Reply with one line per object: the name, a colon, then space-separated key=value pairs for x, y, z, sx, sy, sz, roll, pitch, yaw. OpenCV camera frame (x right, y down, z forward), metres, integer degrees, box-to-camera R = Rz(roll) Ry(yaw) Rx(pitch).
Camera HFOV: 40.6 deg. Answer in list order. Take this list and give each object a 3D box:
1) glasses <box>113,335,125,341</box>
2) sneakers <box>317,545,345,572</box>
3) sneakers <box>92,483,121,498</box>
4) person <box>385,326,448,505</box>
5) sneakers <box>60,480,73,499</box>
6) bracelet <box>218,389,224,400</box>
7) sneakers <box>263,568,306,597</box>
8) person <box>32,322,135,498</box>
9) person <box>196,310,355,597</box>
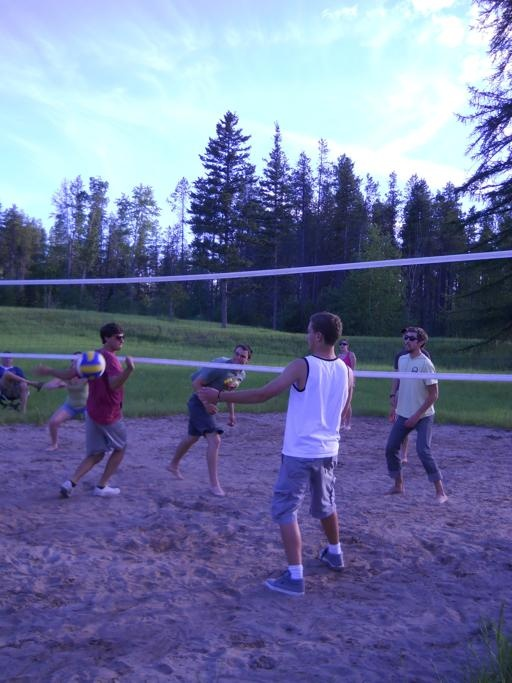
glasses: x=-1.228 y=-0.039 z=6.176 sx=0.078 sy=0.023 sz=0.079 roll=-8 pitch=-10 yaw=43
sneakers: x=0.520 y=1.474 z=4.774 sx=0.099 sy=0.092 sz=0.222 roll=1 pitch=2 yaw=-17
sneakers: x=-1.378 y=1.387 z=6.474 sx=0.228 sy=0.086 sz=0.096 roll=0 pitch=1 yaw=-16
person: x=1.557 y=0.691 z=6.595 sx=0.583 sy=1.657 sz=1.524 roll=2 pitch=2 yaw=11
sneakers: x=-1.694 y=1.333 z=6.263 sx=0.094 sy=0.194 sz=0.092 roll=36 pitch=55 yaw=17
bracelet: x=-0.211 y=0.316 z=4.164 sx=0.026 sy=0.058 sz=0.058 roll=1 pitch=31 yaw=-6
sneakers: x=0.194 y=1.509 z=4.382 sx=0.287 sy=0.140 sz=0.111 roll=5 pitch=-7 yaw=36
person: x=-1.521 y=0.608 z=6.148 sx=0.965 sy=1.504 sz=0.488 roll=-2 pitch=-3 yaw=-13
person: x=0.248 y=0.689 z=4.389 sx=0.511 sy=1.761 sz=0.956 roll=4 pitch=3 yaw=38
